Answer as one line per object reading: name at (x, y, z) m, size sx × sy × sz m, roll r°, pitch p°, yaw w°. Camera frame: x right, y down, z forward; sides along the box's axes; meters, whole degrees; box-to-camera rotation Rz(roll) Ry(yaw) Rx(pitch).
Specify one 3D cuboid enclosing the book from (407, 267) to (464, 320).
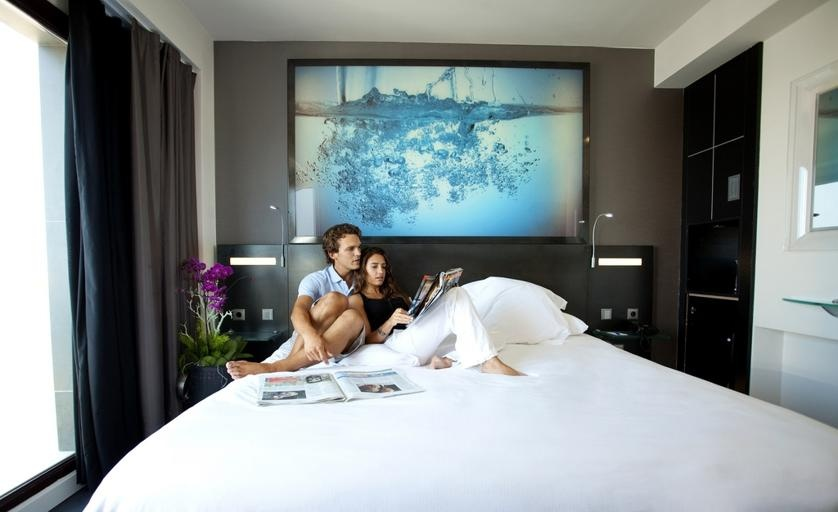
book at (0.121, 0.260, 3.778) m, size 0.127 × 0.389 × 0.298 m, roll 42°, pitch 21°, yaw 16°

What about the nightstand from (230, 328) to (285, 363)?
nightstand at (-1.363, 0.756, 4.656) m, size 0.326 × 0.326 × 0.334 m, roll 1°, pitch 5°, yaw -1°

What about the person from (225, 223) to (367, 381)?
person at (-0.689, 0.314, 4.043) m, size 0.813 × 1.070 × 1.310 m, roll 5°, pitch 2°, yaw 43°

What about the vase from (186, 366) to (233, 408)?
vase at (-1.632, 0.980, 4.192) m, size 0.327 × 0.314 × 0.352 m, roll 6°, pitch -11°, yaw -39°

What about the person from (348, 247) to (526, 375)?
person at (0.106, 0.409, 3.921) m, size 1.335 × 0.804 × 0.545 m, roll 2°, pitch 15°, yaw 34°

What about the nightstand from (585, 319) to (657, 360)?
nightstand at (1.818, 0.709, 4.866) m, size 0.485 × 0.509 × 0.367 m, roll 0°, pitch -2°, yaw -10°
